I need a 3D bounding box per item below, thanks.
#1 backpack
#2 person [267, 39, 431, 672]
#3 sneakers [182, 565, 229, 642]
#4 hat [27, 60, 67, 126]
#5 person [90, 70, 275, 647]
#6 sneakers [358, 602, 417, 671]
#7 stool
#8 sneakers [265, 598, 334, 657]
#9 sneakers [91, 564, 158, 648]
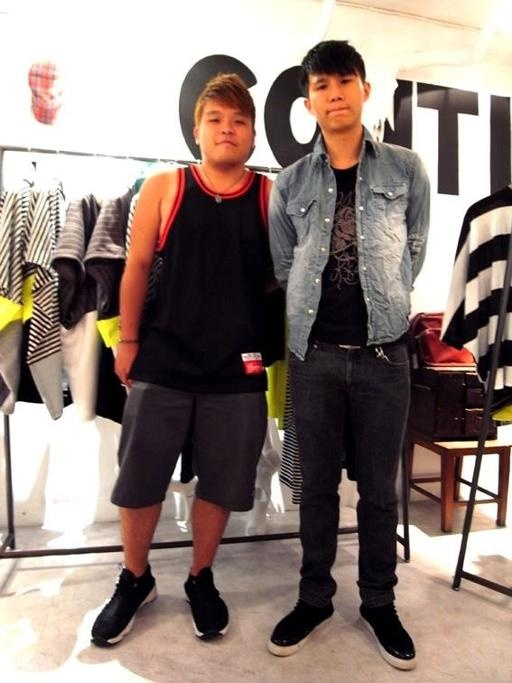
[{"bbox_3d":[0.853,0.035,2.558,0.297,0.297,0.265,1,-5,-11],"label":"backpack"},{"bbox_3d":[0.245,-0.006,1.532,0.448,1.078,0.328,1,1,19],"label":"person"},{"bbox_3d":[-0.142,0.738,1.591,0.126,0.152,0.213,0,1,-13],"label":"sneakers"},{"bbox_3d":[-0.849,-0.995,2.198,0.130,0.251,0.056,-1,7,-13],"label":"hat"},{"bbox_3d":[-0.194,0.012,1.606,0.501,1.601,0.338,1,0,1],"label":"person"},{"bbox_3d":[0.349,0.770,1.449,0.055,0.070,0.170,-2,14,-16],"label":"sneakers"},{"bbox_3d":[0.951,0.530,2.512,0.430,0.469,0.453,0,0,-13],"label":"stool"},{"bbox_3d":[0.116,0.779,1.522,0.068,0.081,0.205,-1,3,39],"label":"sneakers"},{"bbox_3d":[-0.368,0.726,1.538,0.073,0.110,0.241,2,11,20],"label":"sneakers"}]
